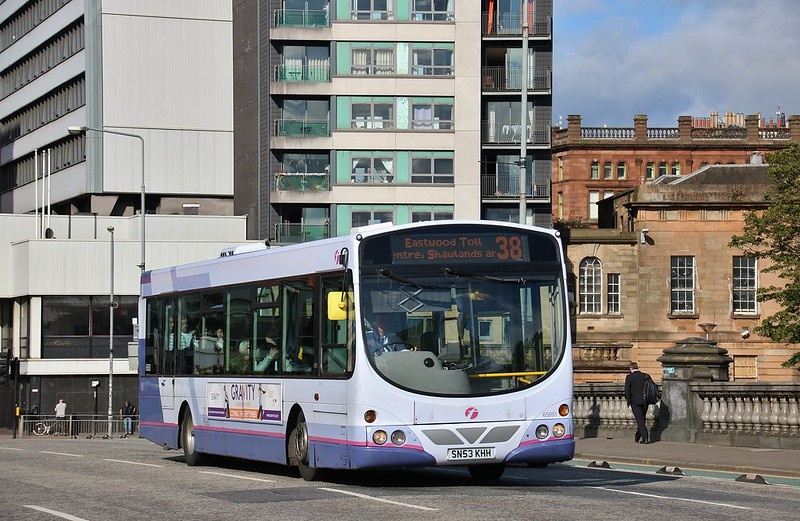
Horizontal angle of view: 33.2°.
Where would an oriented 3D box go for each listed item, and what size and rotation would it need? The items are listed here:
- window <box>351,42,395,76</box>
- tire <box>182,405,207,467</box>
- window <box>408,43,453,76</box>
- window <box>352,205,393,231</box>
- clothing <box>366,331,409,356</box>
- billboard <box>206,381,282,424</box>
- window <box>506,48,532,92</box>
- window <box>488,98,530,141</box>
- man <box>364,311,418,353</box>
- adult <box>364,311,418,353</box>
[{"bbox_3d":[-1.467,-11.582,76.704,2.650,1.752,0.642,-2,3,4],"label":"window"},{"bbox_3d":[-5.776,4.877,37.866,0.529,1.701,1.653,-1,6,-21],"label":"tire"},{"bbox_3d":[1.685,-11.613,76.882,1.870,1.318,0.091,0,-5,-6],"label":"window"},{"bbox_3d":[-1.352,-2.235,65.822,2.520,1.751,0.277,0,-8,-2],"label":"window"},{"bbox_3d":[-0.284,1.969,32.567,0.781,0.310,0.567,4,-5,4],"label":"clothing"},{"bbox_3d":[-4.148,3.699,35.731,2.899,1.065,0.109,-4,-3,40],"label":"billboard"},{"bbox_3d":[7.049,-11.248,79.274,0.248,2.467,1.360,0,12,-31],"label":"window"},{"bbox_3d":[6.591,-8.107,78.867,2.758,2.862,0.126,4,30,17],"label":"window"},{"bbox_3d":[-0.313,1.803,32.638,1.134,0.569,1.532,3,-31,-22],"label":"man"},{"bbox_3d":[-0.450,1.719,32.903,1.013,0.498,1.392,-8,-18,-46],"label":"adult"}]
